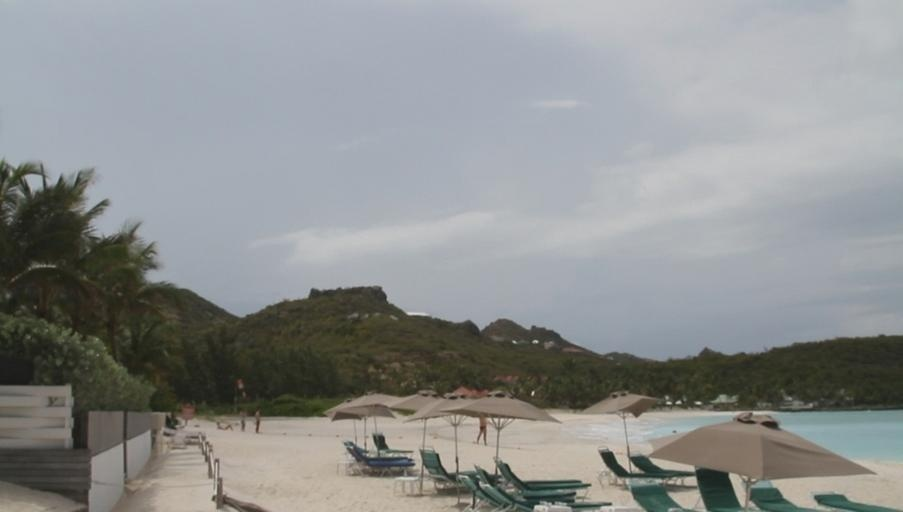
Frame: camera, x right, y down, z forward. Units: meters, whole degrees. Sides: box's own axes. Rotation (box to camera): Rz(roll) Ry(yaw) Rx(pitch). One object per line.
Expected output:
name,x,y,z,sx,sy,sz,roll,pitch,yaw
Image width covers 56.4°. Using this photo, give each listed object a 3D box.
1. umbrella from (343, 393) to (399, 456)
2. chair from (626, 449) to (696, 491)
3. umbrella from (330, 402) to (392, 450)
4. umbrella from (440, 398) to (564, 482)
umbrella,-3.938,7.918,42.738,1.699,1.074,1.694,-2,2,-43
chair,9.335,10.043,39.122,3.480,1.584,1.804,-2,-4,24
umbrella,-5.002,8.808,43.645,2.922,2.445,1.626,2,-5,-11
umbrella,2.040,7.094,38.608,4.799,2.956,4.755,-1,-10,8
